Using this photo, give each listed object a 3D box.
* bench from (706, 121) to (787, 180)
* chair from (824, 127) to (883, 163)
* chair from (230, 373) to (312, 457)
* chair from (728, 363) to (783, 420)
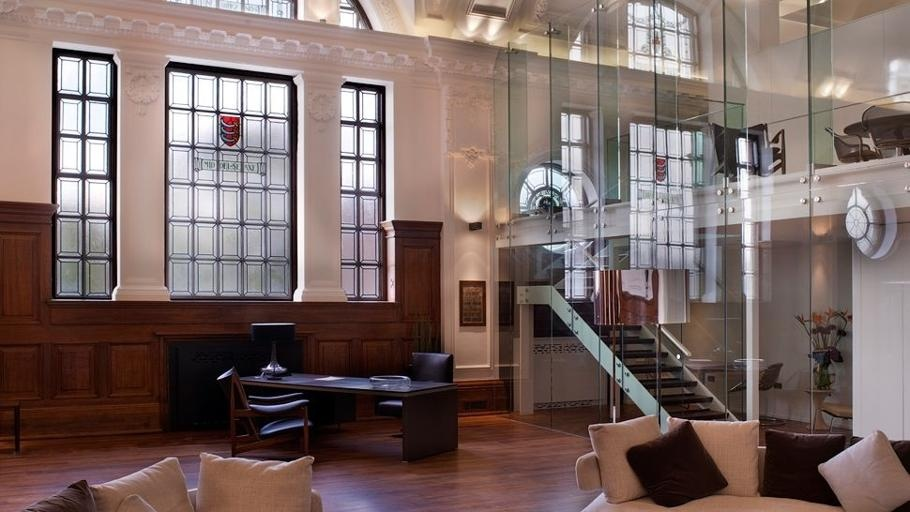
[{"bbox_3d":[4.470,-1.640,10.560,0.870,0.715,1.043,-4,2,44],"label":"bench"},{"bbox_3d":[5.624,-1.504,9.731,0.452,0.528,0.467,-6,0,12],"label":"chair"},{"bbox_3d":[-3.172,2.680,11.830,1.596,1.599,1.404,0,-4,-14],"label":"chair"},{"bbox_3d":[4.808,2.051,10.862,0.814,1.063,0.855,0,-2,43],"label":"chair"}]
